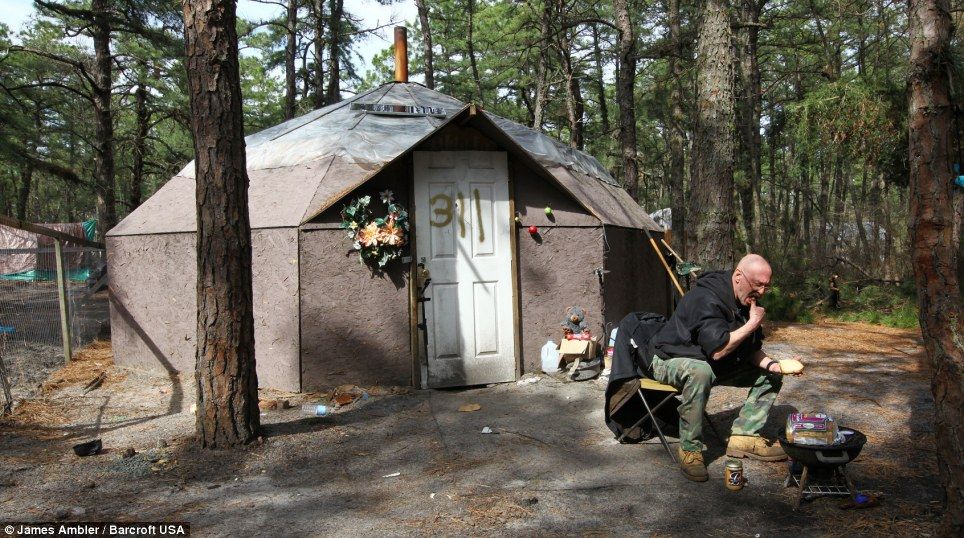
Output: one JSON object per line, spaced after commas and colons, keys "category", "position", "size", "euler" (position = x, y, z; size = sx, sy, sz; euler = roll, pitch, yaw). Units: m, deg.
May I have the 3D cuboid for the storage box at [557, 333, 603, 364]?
{"category": "storage box", "position": [2.100, 1.691, 16.656], "size": [0.869, 0.403, 0.423], "euler": [-3, 1, 1]}

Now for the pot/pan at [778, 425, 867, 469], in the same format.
{"category": "pot/pan", "position": [5.574, 3.065, 13.134], "size": [1.327, 0.564, 0.807], "euler": [-5, 0, -33]}

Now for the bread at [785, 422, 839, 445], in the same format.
{"category": "bread", "position": [5.457, 2.753, 12.989], "size": [0.582, 0.214, 0.430], "euler": [-5, -8, 17]}

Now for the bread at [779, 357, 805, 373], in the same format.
{"category": "bread", "position": [5.315, 1.738, 13.422], "size": [0.391, 0.363, 0.104], "euler": [-1, -30, 6]}
